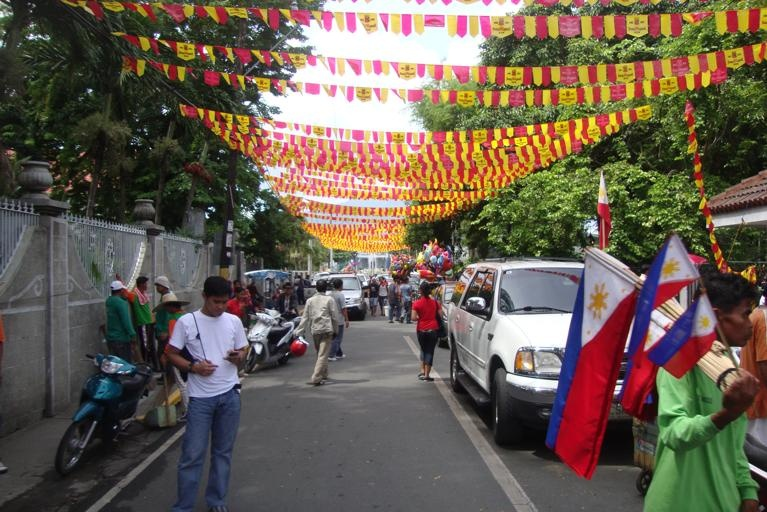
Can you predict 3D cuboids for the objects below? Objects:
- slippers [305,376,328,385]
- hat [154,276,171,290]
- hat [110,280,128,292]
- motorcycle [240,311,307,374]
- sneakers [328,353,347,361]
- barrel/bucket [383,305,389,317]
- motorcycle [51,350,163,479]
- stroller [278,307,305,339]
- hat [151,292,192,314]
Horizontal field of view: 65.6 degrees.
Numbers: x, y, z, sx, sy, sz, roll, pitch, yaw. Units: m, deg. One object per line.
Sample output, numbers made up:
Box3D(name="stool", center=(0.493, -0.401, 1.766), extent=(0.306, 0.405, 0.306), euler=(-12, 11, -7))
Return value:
Box3D(name="slippers", center=(-1.349, 2.524, 12.058), extent=(0.458, 0.166, 0.524), euler=(0, 3, -3))
Box3D(name="hat", center=(-4.658, 0.562, 12.407), extent=(0.292, 0.154, 0.332), euler=(22, -5, -10))
Box3D(name="hat", center=(-4.805, 0.543, 10.786), extent=(0.209, 0.171, 0.305), euler=(13, 7, 26))
Box3D(name="motorcycle", center=(-2.466, 1.952, 13.727), extent=(0.856, 1.253, 2.078), euler=(1, -7, 30))
Box3D(name="sneakers", center=(-1.159, 2.529, 14.723), extent=(0.387, 0.195, 0.133), euler=(0, 8, -15))
Box3D(name="barrel/bucket", center=(0.156, 3.272, 34.888), extent=(0.375, 0.652, 0.396), euler=(-1, -7, 0))
Box3D(name="motorcycle", center=(-3.785, 2.045, 7.968), extent=(0.402, 1.384, 1.400), euler=(1, 4, 15))
Box3D(name="stroller", center=(-2.337, 1.697, 14.948), extent=(0.533, 0.687, 1.061), euler=(-4, -9, 6))
Box3D(name="hat", center=(-4.410, 0.961, 12.200), extent=(0.581, 0.272, 0.678), euler=(-5, -14, -33))
